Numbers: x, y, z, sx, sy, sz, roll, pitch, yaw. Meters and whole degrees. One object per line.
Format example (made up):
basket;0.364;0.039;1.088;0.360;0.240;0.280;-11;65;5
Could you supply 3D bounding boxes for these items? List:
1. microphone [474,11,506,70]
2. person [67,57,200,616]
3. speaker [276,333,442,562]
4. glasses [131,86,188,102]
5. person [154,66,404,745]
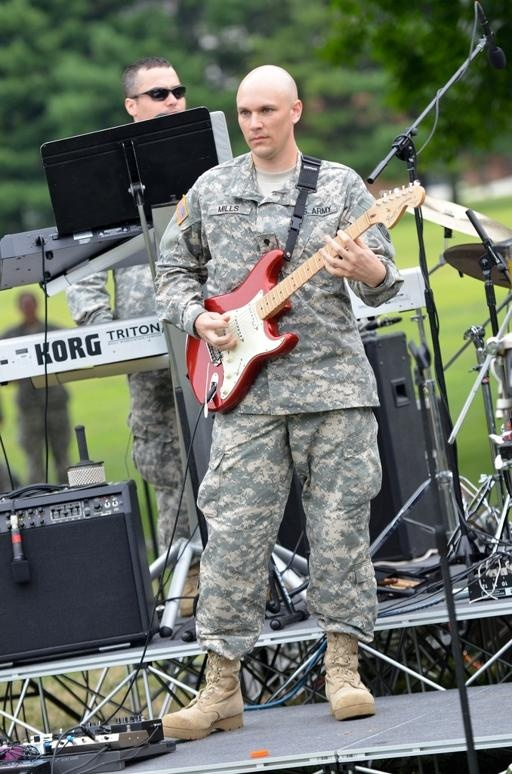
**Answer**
microphone;0.739;-1.123;3.763;0.072;0.210;0.500;-7;12;13
person;-0.358;-0.204;4.602;0.586;2.052;0.582;-5;15;-14
speaker;0.466;0.258;4.697;0.683;0.859;0.625;8;18;38
glasses;-0.366;-1.115;4.508;0.115;0.031;0.096;-9;1;44
person;0.093;0.065;3.472;0.779;1.785;0.759;-3;1;0
